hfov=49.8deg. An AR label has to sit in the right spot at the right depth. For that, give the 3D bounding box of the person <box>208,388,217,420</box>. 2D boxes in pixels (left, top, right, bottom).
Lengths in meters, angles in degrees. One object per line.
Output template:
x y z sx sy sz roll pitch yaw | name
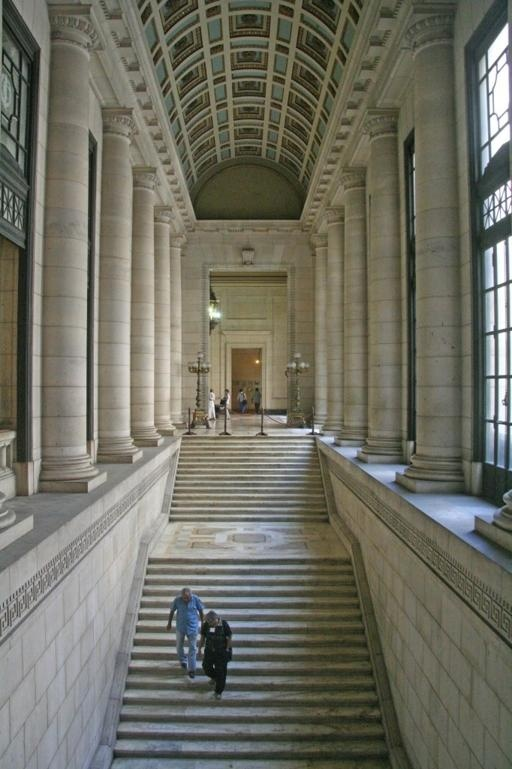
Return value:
-1.864 1.004 22.462 0.272 1.163 1.110 0 15 -8 | person

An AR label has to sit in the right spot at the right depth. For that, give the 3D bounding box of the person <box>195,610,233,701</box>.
-0.543 3.478 7.114 0.490 1.253 0.294 10 15 32 | person
